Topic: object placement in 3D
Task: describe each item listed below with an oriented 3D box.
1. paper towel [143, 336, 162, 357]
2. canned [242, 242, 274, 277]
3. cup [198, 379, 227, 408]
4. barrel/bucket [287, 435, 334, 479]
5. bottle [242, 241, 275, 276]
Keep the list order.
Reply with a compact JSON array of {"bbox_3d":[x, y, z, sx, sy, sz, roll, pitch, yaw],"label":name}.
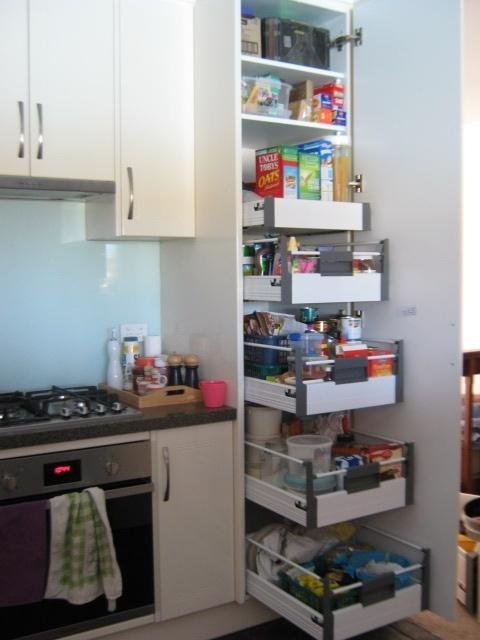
[{"bbox_3d":[-0.362,0.113,2.293,0.078,0.082,0.072,2,0,-12],"label":"paper towel"},{"bbox_3d":[0.062,-0.206,1.856,0.082,0.125,0.124,-4,9,-44],"label":"canned"},{"bbox_3d":[-0.091,0.254,1.914,0.093,0.075,0.074,0,1,1],"label":"cup"},{"bbox_3d":[0.217,0.433,1.766,0.112,0.080,0.104,1,4,0],"label":"barrel/bucket"},{"bbox_3d":[0.069,-0.202,1.866,0.081,0.125,0.129,-5,9,-44],"label":"bottle"}]
